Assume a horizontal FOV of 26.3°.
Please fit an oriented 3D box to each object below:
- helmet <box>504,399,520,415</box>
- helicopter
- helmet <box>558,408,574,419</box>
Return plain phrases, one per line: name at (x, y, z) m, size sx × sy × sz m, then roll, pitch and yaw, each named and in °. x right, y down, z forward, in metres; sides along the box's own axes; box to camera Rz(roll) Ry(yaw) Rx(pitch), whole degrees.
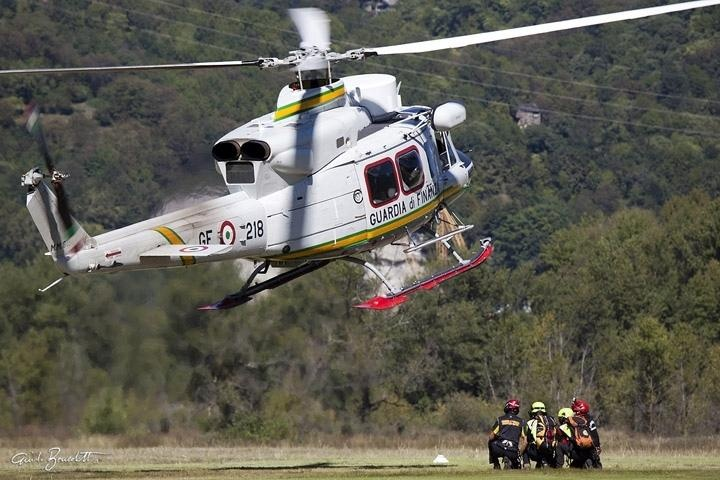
helmet at (5.605, 6.226, 56.584) m, size 0.497 × 0.580 × 0.546 m, roll 5°, pitch -7°, yaw 1°
helicopter at (-1.125, -0.921, 58.892) m, size 18.990 × 7.038 × 14.438 m, roll -18°, pitch 25°, yaw -35°
helmet at (7.535, 6.434, 56.407) m, size 0.414 × 0.324 × 0.332 m, roll 5°, pitch 2°, yaw 10°
